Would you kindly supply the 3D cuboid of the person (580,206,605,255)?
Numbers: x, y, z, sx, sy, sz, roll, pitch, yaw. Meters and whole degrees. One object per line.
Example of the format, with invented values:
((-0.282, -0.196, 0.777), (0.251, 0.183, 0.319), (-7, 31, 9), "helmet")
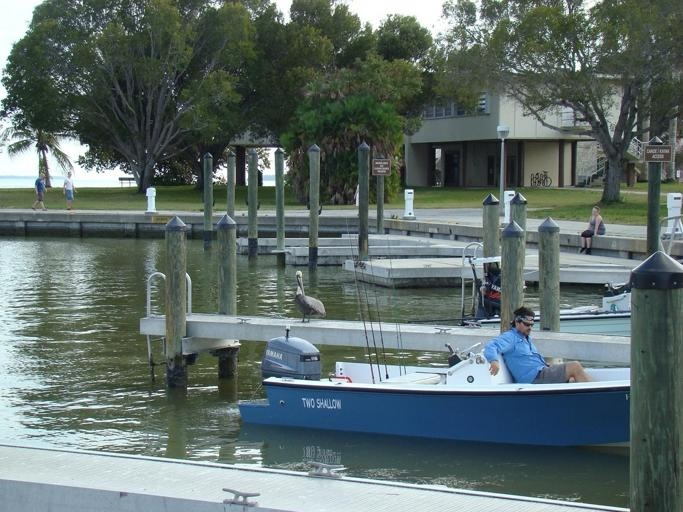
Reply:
((7.753, -0.882, 41.255), (0.740, 1.435, 1.603), (2, 13, 11), "person")

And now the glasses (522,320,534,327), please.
((4.067, 1.448, 29.365), (0.162, 0.176, 0.053), (8, -6, -28), "glasses")

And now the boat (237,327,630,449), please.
((1.707, 2.796, 30.367), (9.306, 2.417, 3.174), (0, 5, 10), "boat")

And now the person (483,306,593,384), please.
((4.123, 1.960, 29.199), (2.016, 1.566, 0.642), (1, 13, 5), "person")

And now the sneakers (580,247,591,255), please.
((7.422, -0.153, 40.932), (0.417, 0.202, 0.266), (10, 16, 36), "sneakers")

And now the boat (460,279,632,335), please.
((4.654, 1.481, 32.652), (5.046, 1.472, 1.535), (-2, 4, 0), "boat")
